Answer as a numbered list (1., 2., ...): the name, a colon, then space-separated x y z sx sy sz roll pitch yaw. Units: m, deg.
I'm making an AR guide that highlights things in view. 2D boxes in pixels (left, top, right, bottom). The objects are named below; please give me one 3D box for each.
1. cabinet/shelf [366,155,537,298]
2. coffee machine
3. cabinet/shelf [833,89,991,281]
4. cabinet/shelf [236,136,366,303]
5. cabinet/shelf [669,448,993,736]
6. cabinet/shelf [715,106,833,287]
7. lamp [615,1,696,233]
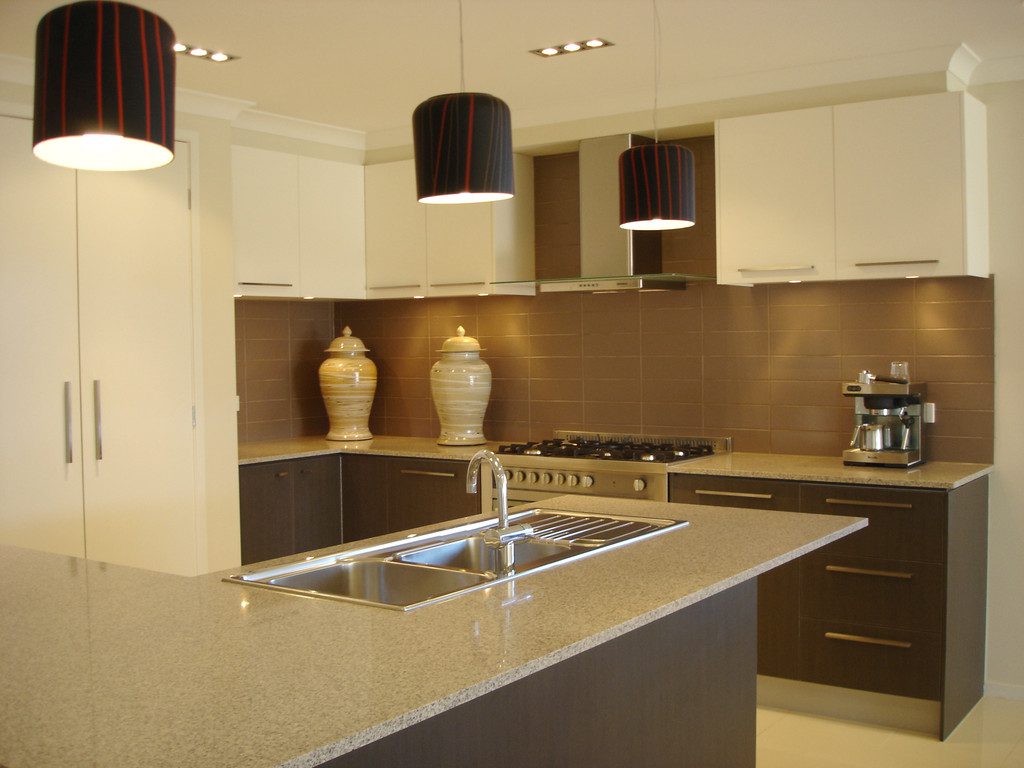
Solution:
1. cabinet/shelf: -0.299 -0.833 4.492 0.939 0.789 0.364 -1 1 30
2. coffee machine: 1.768 0.176 3.920 0.345 0.408 0.324 -1 0 27
3. cabinet/shelf: 1.742 -0.889 3.911 0.622 0.764 0.425 -2 8 0
4. cabinet/shelf: -1.249 -0.989 5.303 0.393 0.934 1.089 22 18 38
5. cabinet/shelf: 1.451 0.998 4.034 1.263 1.051 0.673 1 -3 28
6. cabinet/shelf: 1.405 -0.935 4.139 0.631 0.800 0.521 2 17 33
7. lamp: 0.618 -1.084 3.585 0.290 0.878 1.046 -1 3 8
